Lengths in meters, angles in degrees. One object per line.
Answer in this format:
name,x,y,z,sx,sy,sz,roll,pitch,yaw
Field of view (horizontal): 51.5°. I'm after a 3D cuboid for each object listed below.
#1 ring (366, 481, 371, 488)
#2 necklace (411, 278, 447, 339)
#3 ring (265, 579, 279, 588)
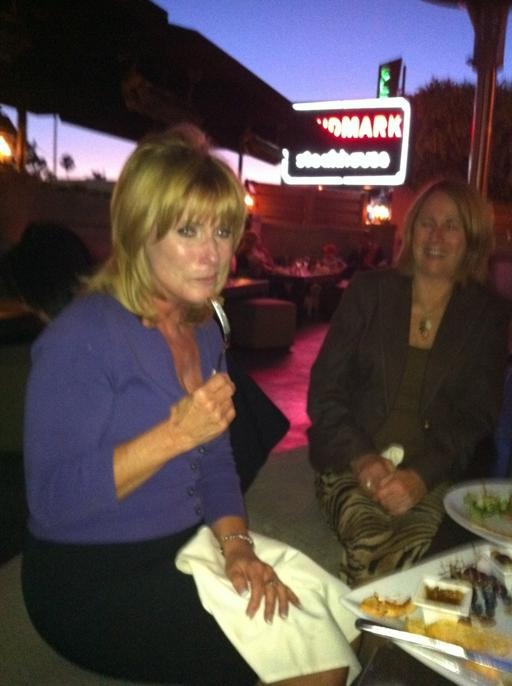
ring,0.410,0.515,1.933,0.014,0.020,0.022,1,-4,-18
necklace,0.762,-0.145,2.333,0.150,0.278,0.066,10,-11,4
ring,0.031,0.525,1.162,0.015,0.006,0.020,-9,-1,25
